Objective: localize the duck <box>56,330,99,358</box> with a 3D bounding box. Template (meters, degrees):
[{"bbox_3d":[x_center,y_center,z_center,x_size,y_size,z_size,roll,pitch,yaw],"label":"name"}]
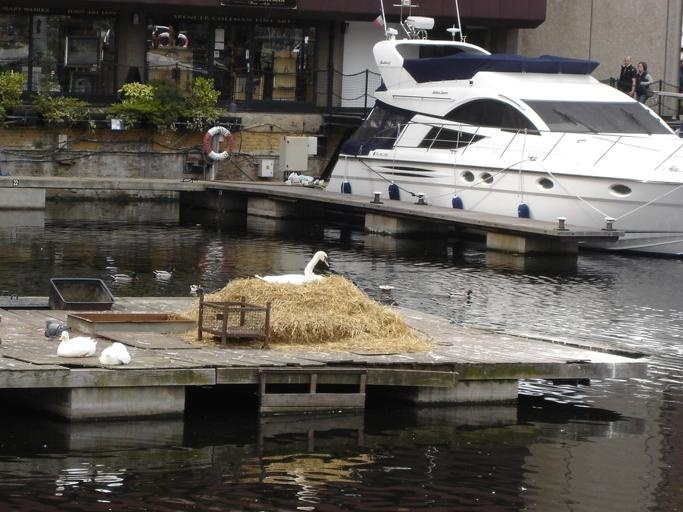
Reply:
[{"bbox_3d":[-3.731,1.250,22.412,0.556,0.326,0.483,1,8,-9],"label":"duck"}]

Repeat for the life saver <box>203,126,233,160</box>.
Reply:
[{"bbox_3d":[-3.218,-2.861,41.798,0.679,0.977,1.259,4,9,12],"label":"life saver"}]

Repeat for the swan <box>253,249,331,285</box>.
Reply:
[{"bbox_3d":[-0.776,0.237,24.711,0.915,0.509,1.122,9,7,44],"label":"swan"}]

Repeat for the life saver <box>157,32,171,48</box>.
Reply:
[{"bbox_3d":[-4.824,-5.803,43.241,0.362,0.398,0.080,-2,11,-26],"label":"life saver"}]

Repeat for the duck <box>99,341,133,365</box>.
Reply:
[{"bbox_3d":[-3.143,1.371,22.137,0.346,0.130,0.373,2,8,-5],"label":"duck"}]
